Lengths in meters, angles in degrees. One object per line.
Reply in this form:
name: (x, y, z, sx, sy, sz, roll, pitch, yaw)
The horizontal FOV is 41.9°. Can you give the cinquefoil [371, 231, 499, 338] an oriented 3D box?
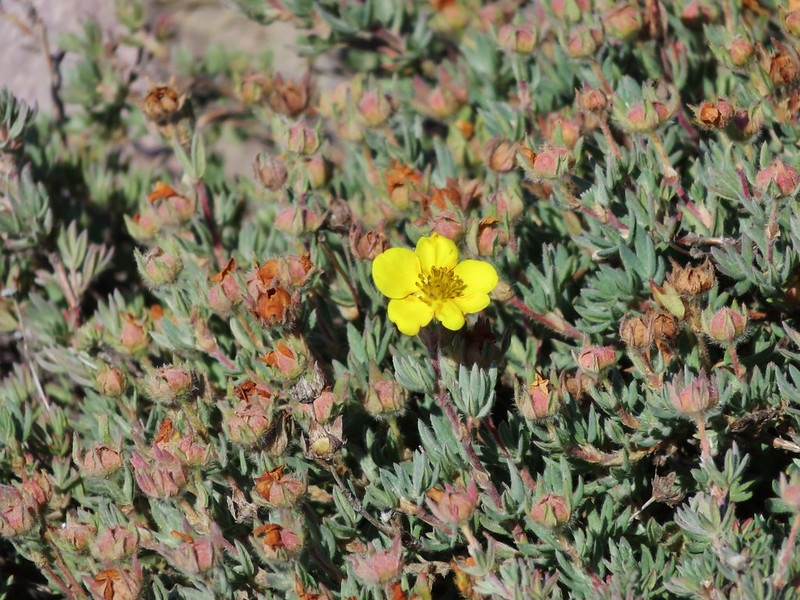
cinquefoil: (0.152, -0.068, 3.633, 0.374, 0.448, 0.165, 3, 71, 19)
